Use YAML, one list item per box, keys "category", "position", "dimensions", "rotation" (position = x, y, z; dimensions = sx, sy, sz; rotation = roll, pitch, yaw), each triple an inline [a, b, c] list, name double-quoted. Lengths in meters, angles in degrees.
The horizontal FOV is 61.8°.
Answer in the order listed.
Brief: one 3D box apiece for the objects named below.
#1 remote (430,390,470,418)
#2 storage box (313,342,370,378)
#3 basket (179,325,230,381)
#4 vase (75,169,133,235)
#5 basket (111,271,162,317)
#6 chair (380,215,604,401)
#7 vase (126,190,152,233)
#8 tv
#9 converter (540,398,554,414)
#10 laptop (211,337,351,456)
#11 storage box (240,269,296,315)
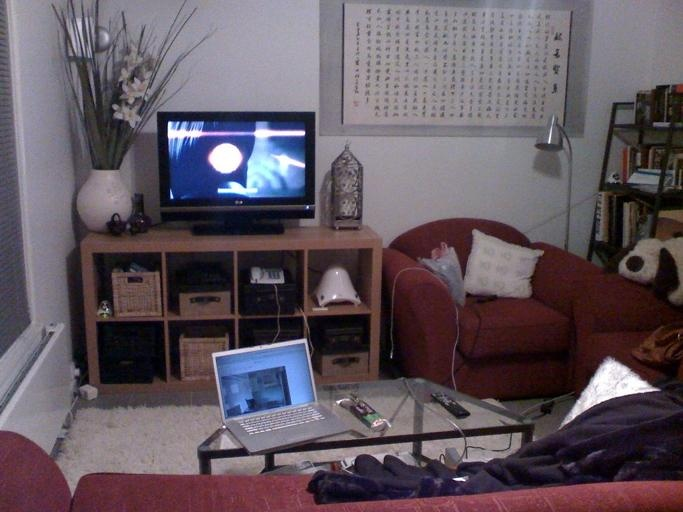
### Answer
- category: "remote"
  position: [0.478, 0.647, 2.527]
  dimensions: [0.058, 0.030, 0.174]
  rotation: [-8, 15, -18]
- category: "storage box"
  position: [0.024, 0.662, 3.556]
  dimensions: [0.259, 0.125, 0.210]
  rotation: [-3, 13, -13]
- category: "basket"
  position: [-0.840, 0.586, 3.552]
  dimensions: [0.384, 0.230, 0.359]
  rotation: [0, 21, -9]
- category: "vase"
  position: [-1.396, -0.326, 3.367]
  dimensions: [0.354, 0.402, 0.353]
  rotation: [4, 7, 15]
- category: "basket"
  position: [-1.189, 0.218, 3.324]
  dimensions: [0.278, 0.215, 0.277]
  rotation: [0, 17, -7]
- category: "chair"
  position: [0.842, 0.360, 3.577]
  dimensions: [1.254, 0.988, 0.997]
  rotation: [-2, 9, -10]
- category: "vase"
  position: [-1.239, -0.264, 3.480]
  dimensions: [0.153, 0.227, 0.148]
  rotation: [8, 8, 44]
- category: "tv"
  position: [-0.655, -0.535, 3.517]
  dimensions: [0.797, 0.571, 0.227]
  rotation: [-1, 7, -8]
- category: "converter"
  position: [1.155, 0.848, 3.217]
  dimensions: [0.046, 0.067, 0.170]
  rotation: [5, 12, 17]
- category: "laptop"
  position: [-0.287, 0.588, 2.393]
  dimensions: [0.470, 0.278, 0.426]
  rotation: [-7, 15, -28]
- category: "storage box"
  position: [-0.454, 0.163, 3.531]
  dimensions: [0.299, 0.188, 0.295]
  rotation: [-1, 21, -9]
